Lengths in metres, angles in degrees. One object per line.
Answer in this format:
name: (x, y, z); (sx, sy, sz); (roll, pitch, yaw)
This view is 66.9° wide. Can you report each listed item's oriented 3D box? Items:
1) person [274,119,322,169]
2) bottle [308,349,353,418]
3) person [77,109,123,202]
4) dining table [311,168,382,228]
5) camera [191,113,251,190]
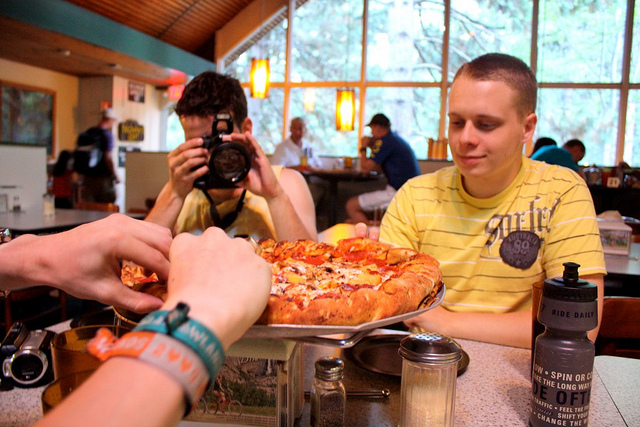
person: (-0.338, -1.030, 7.324); (0.541, 0.793, 0.960); (7, 15, 42)
bottle: (0.019, 0.420, 1.147); (0.084, 0.162, 0.073); (1, 8, -1)
person: (-2.953, -0.771, 6.522); (0.481, 1.248, 1.578); (-2, 9, -24)
dining table: (0.310, -0.230, 6.492); (0.763, 0.753, 0.772); (-1, 9, -1)
camera: (-0.410, -0.253, 2.063); (0.291, 0.285, 0.292); (-2, 5, -22)
